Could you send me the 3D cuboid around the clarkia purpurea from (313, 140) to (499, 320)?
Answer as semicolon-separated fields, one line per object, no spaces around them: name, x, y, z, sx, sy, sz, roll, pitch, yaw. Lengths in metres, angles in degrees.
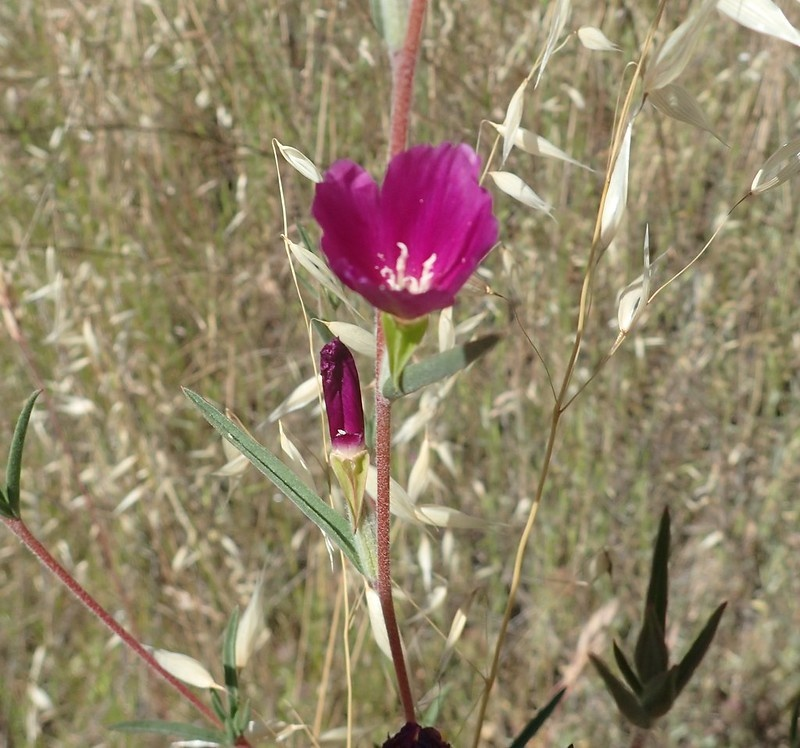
clarkia purpurea;-0.007;-0.145;1.194;0.183;0.251;0.111;17;41;-1

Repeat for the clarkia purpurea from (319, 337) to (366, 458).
clarkia purpurea;-0.071;0.025;1.259;0.051;0.114;0.112;-1;47;-5
